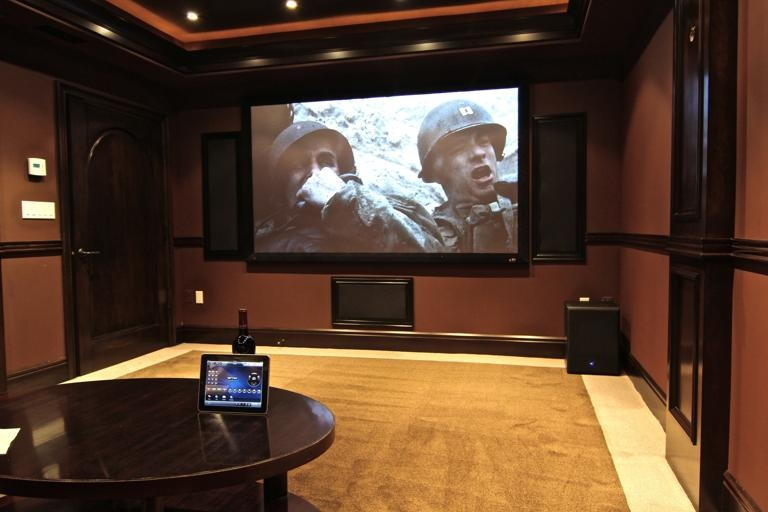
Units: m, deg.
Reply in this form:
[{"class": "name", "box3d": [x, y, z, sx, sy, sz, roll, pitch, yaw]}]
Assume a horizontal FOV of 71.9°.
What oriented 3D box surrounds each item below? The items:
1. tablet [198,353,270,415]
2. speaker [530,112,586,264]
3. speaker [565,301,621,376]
[{"class": "tablet", "box3d": [-0.790, 0.682, 2.797, 0.287, 0.236, 0.025, -2, -5, 5]}, {"class": "speaker", "box3d": [1.763, -0.685, 5.313, 0.520, 1.432, 0.306, 1, 13, 7]}, {"class": "speaker", "box3d": [1.924, 0.762, 5.134, 0.603, 0.912, 0.576, 0, -2, 13]}]
